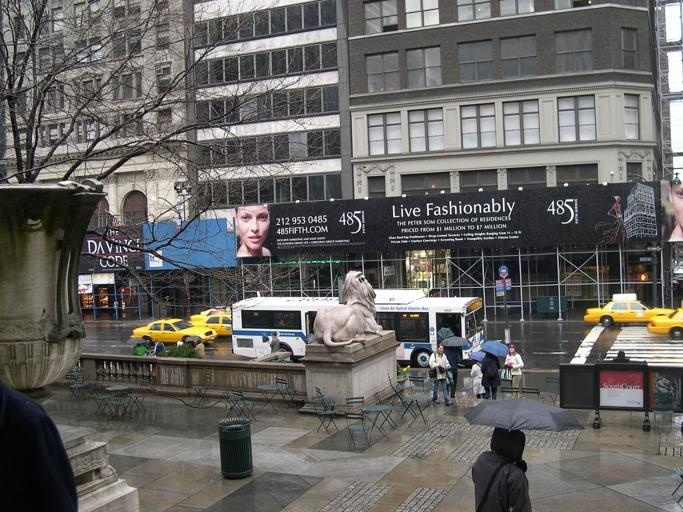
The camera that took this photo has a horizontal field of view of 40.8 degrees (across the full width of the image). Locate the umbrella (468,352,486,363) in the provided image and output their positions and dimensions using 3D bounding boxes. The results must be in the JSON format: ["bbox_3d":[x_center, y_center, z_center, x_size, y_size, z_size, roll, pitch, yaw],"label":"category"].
[{"bbox_3d":[4.097,3.140,27.828,0.386,0.123,0.379,-5,0,-2],"label":"umbrella"}]

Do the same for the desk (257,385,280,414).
[{"bbox_3d":[-2.146,4.121,26.641,0.555,0.794,1.216,-3,-3,-6],"label":"desk"}]

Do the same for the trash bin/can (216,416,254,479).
[{"bbox_3d":[-2.524,4.551,21.623,0.875,1.253,0.844,-3,-3,22],"label":"trash bin/can"}]

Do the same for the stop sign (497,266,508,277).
[{"bbox_3d":[7.920,0.773,45.359,0.596,0.721,0.768,-1,-5,3],"label":"stop sign"}]

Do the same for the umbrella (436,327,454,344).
[{"bbox_3d":[3.801,2.959,33.903,0.584,0.746,0.811,9,-7,-40],"label":"umbrella"}]

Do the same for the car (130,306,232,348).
[{"bbox_3d":[-8.030,3.682,45.155,2.871,0.809,2.864,-3,1,20],"label":"car"}]

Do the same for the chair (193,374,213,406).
[{"bbox_3d":[-4.195,3.991,27.524,0.554,0.902,1.248,-3,-3,-9],"label":"chair"}]

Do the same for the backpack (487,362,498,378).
[{"bbox_3d":[4.387,3.367,26.919,0.411,0.305,0.562,0,31,6],"label":"backpack"}]

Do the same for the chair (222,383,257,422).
[{"bbox_3d":[-2.931,4.268,26.297,0.833,1.102,0.714,-1,5,-5],"label":"chair"}]
